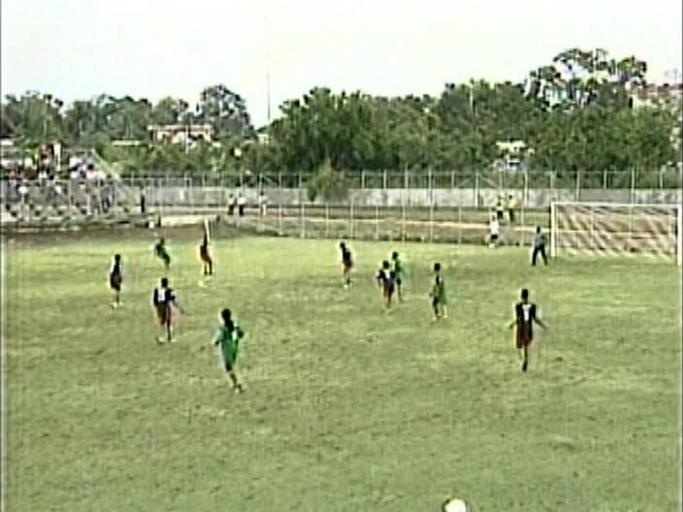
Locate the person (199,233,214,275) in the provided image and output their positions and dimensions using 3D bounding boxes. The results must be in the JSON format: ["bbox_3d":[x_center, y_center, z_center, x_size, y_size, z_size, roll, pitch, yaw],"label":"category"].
[{"bbox_3d":[-4.786,-0.001,39.003,0.380,1.316,1.644,-3,0,-8],"label":"person"}]

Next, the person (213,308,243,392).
[{"bbox_3d":[-2.594,2.129,25.282,0.641,1.908,1.214,-1,6,-2],"label":"person"}]

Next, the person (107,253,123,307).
[{"bbox_3d":[-6.889,0.814,33.200,0.334,1.636,0.807,1,-23,-6],"label":"person"}]

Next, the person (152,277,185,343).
[{"bbox_3d":[-4.535,1.371,28.226,0.690,1.830,2.281,-1,6,-10],"label":"person"}]

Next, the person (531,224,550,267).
[{"bbox_3d":[7.389,-0.416,40.759,0.561,1.719,0.448,-3,25,1],"label":"person"}]
